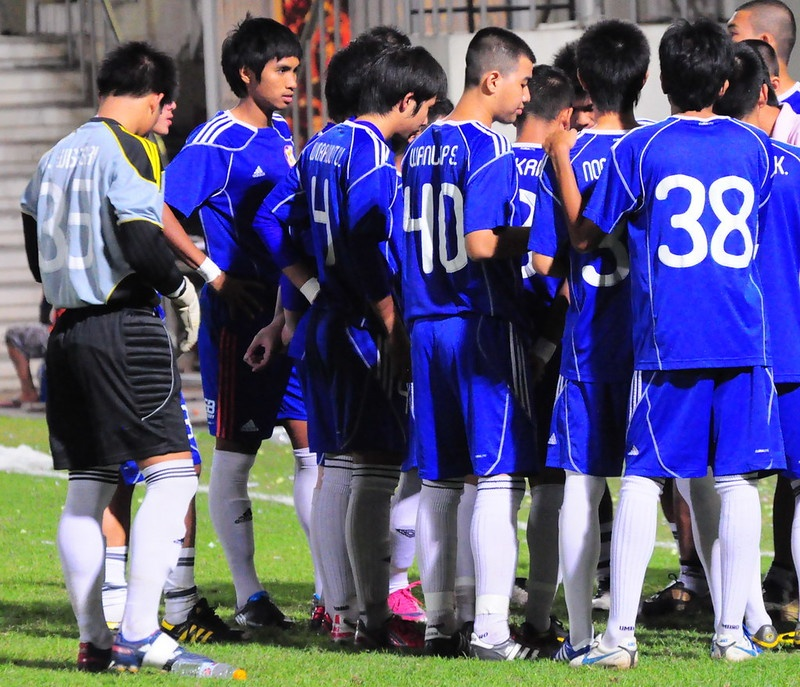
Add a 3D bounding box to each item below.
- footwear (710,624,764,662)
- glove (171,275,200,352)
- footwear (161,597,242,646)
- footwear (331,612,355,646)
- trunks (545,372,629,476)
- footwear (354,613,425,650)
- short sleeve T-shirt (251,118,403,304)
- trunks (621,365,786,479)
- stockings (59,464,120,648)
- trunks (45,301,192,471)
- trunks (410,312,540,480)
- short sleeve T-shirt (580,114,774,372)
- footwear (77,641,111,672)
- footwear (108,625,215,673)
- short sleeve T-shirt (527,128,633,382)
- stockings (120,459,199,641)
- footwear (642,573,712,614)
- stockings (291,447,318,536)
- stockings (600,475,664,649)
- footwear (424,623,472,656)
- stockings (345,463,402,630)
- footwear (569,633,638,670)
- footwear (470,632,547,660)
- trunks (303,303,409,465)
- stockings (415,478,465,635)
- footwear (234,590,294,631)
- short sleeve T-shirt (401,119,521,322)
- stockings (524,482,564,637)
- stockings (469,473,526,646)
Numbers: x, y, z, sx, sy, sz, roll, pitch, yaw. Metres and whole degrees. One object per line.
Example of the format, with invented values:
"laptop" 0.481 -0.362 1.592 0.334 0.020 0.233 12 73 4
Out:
"footwear" 1.487 1.317 7.039 0.232 0.137 0.217 2 1 2
"glove" -0.963 -0.137 7.384 0.199 0.299 0.098 2 8 27
"footwear" -0.945 1.336 7.722 0.438 0.247 0.162 1 -1 11
"footwear" -0.269 1.370 7.646 0.081 0.112 0.152 5 1 25
"trunks" 0.850 0.361 7.149 0.307 0.464 0.241 10 -14 -1
"footwear" -0.028 1.342 7.592 0.370 0.193 0.140 1 3 -25
"short sleeve T-shirt" -0.334 -0.623 7.635 0.360 0.758 0.670 -23 25 -39
"trunks" 1.341 0.324 7.059 0.651 0.523 0.309 -3 -6 15
"stockings" -1.376 0.934 7.050 0.248 0.620 0.234 2 1 -11
"trunks" -1.312 0.186 7.165 0.667 0.767 0.411 -6 -3 27
"trunks" 0.340 0.236 7.299 0.601 0.894 0.443 -2 6 38
"short sleeve T-shirt" 1.200 -0.415 6.993 0.954 1.356 0.492 -1 -2 0
"footwear" -1.313 1.363 6.997 0.080 0.120 0.166 3 4 29
"footwear" -1.026 1.301 6.969 0.471 0.231 0.183 5 -5 -2
"short sleeve T-shirt" 0.929 -0.416 7.242 0.680 1.049 0.274 -2 8 5
"stockings" -1.004 0.867 7.120 0.250 0.860 0.274 2 16 23
"footwear" 1.419 1.297 8.246 0.376 0.192 0.150 1 -16 -6
"stockings" -0.463 0.784 8.260 0.121 0.462 0.129 -1 3 15
"stockings" 1.019 0.946 7.028 0.232 0.692 0.212 2 1 9
"footwear" 0.217 1.358 7.324 0.208 0.133 0.139 2 1 1
"stockings" -0.134 0.944 7.561 0.244 0.667 0.180 2 1 -2
"footwear" 0.909 1.352 7.024 0.326 0.161 0.126 -8 -19 29
"footwear" 0.481 1.347 7.240 0.338 0.159 0.123 -1 0 -11
"trunks" -0.264 0.156 7.722 0.402 0.753 0.496 -23 26 -40
"stockings" 0.177 0.980 7.397 0.202 0.625 0.186 2 1 0
"footwear" -0.672 1.321 7.937 0.264 0.155 0.143 2 0 21
"short sleeve T-shirt" 0.282 -0.540 7.293 0.419 0.918 0.717 -8 11 -33
"stockings" 0.670 1.012 7.548 0.184 0.736 0.197 2 -10 25
"stockings" 0.438 0.972 7.285 0.237 0.688 0.228 2 1 3
